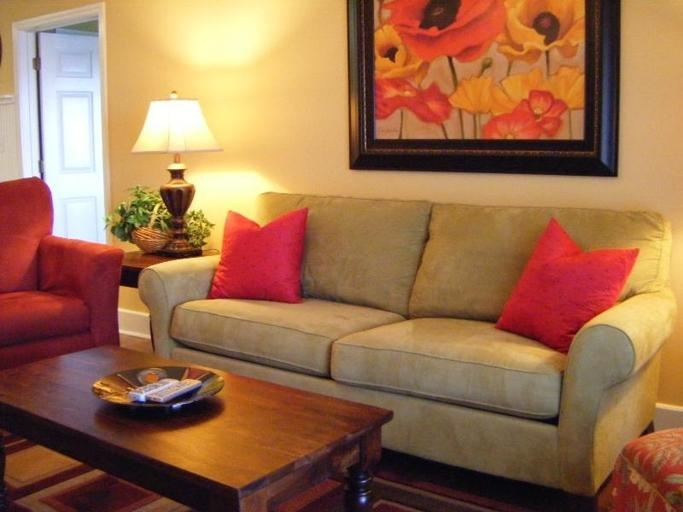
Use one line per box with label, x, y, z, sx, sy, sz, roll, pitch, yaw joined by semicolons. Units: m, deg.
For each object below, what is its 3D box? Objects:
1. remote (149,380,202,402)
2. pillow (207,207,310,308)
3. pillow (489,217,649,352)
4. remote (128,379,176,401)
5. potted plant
remote;-0.554;0.438;1.959;0.062;0.019;0.115;6;10;34
pillow;-0.454;-0.007;3.302;0.568;0.482;0.278;3;19;24
pillow;1.032;0.067;2.502;0.477;0.125;0.500;-29;24;-27
remote;-0.634;0.441;1.972;0.058;0.020;0.122;9;10;38
potted plant;-1.258;-0.204;4.198;0.588;0.322;0.592;11;-3;15
